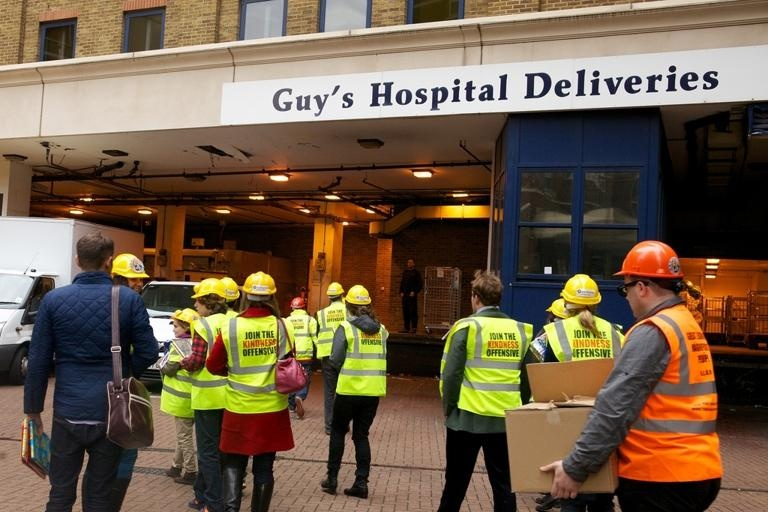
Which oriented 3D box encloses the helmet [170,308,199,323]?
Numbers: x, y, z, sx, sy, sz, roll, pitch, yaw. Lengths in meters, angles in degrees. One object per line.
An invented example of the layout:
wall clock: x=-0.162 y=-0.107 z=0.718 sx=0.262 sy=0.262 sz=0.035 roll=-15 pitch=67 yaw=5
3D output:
helmet: x=-2.909 y=0.879 z=11.209 sx=0.251 sy=0.166 sz=0.338 roll=-3 pitch=-21 yaw=39

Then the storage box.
storage box: x=1.843 y=1.833 z=8.594 sx=1.480 sy=1.373 sz=1.406 roll=-4 pitch=-10 yaw=24

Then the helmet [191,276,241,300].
helmet: x=-2.356 y=0.438 z=10.706 sx=0.509 sy=0.238 sz=0.343 roll=4 pitch=-6 yaw=-10

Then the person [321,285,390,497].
person: x=-0.423 y=2.075 z=11.365 sx=0.892 sy=2.981 sz=1.177 roll=3 pitch=0 yaw=-2

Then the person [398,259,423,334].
person: x=0.918 y=1.371 z=26.148 sx=0.675 sy=2.510 sz=1.077 roll=3 pitch=0 yaw=2

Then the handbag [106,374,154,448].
handbag: x=-2.938 y=1.817 z=8.776 sx=0.502 sy=0.839 sz=0.301 roll=2 pitch=0 yaw=-19

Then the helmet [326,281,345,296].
helmet: x=-0.944 y=0.649 z=14.673 sx=0.407 sy=0.280 sz=0.560 roll=-1 pitch=-3 yaw=3

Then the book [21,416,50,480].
book: x=-4.026 y=2.214 z=8.786 sx=0.287 sy=0.739 sz=0.275 roll=2 pitch=0 yaw=-26

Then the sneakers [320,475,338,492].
sneakers: x=-0.776 y=3.301 z=11.044 sx=0.132 sy=0.212 sz=0.327 roll=3 pitch=-2 yaw=-22

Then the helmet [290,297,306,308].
helmet: x=-1.796 y=0.971 z=15.873 sx=0.226 sy=0.137 sz=0.278 roll=-2 pitch=5 yaw=-7

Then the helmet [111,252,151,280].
helmet: x=-3.762 y=0.140 z=10.892 sx=0.544 sy=0.288 sz=0.406 roll=-1 pitch=-3 yaw=19
